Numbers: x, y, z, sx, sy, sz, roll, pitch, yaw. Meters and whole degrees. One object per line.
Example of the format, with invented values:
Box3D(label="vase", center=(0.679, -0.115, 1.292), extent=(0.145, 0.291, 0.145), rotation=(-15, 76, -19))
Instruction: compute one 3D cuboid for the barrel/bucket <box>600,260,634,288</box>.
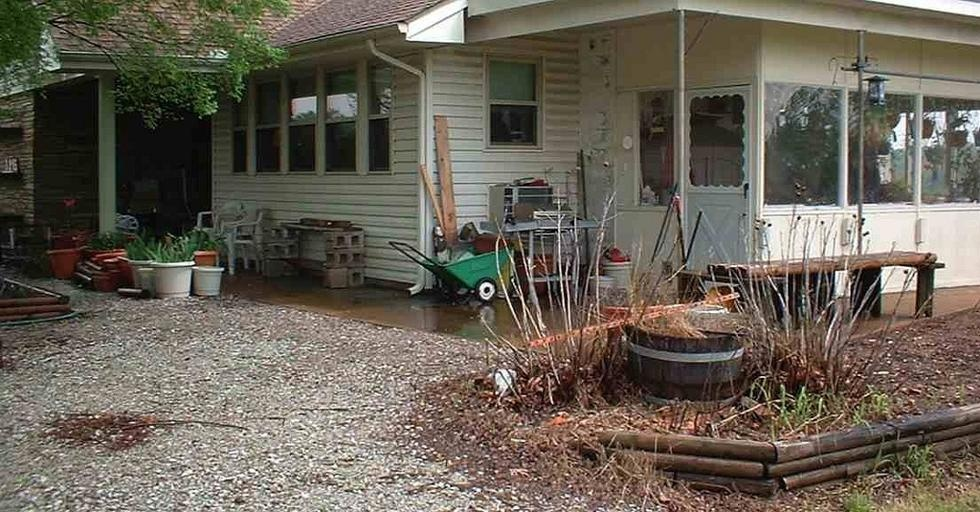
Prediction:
Box3D(label="barrel/bucket", center=(2.337, 0.322, 12.405), extent=(0.588, 0.440, 0.584), rotation=(0, -2, 0))

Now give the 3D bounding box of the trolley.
Box3D(label="trolley", center=(-0.475, 0.198, 12.433), extent=(2.059, 1.041, 1.117), rotation=(-11, 8, -11))

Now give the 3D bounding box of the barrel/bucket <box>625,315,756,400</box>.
Box3D(label="barrel/bucket", center=(2.310, 1.169, 8.000), extent=(1.196, 0.590, 1.047), rotation=(-5, 0, 20))

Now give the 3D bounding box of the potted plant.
Box3D(label="potted plant", center=(-5.928, 0.167, 13.171), extent=(1.631, 1.088, 1.754), rotation=(-1, -3, -8))

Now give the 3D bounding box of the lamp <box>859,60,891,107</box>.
Box3D(label="lamp", center=(6.887, -3.125, 12.302), extent=(0.417, 0.811, 1.477), rotation=(4, 7, 33))

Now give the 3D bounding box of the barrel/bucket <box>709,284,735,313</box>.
Box3D(label="barrel/bucket", center=(3.365, 0.565, 9.781), extent=(0.418, 0.307, 0.464), rotation=(6, 13, 37))

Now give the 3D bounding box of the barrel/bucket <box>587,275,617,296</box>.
Box3D(label="barrel/bucket", center=(1.927, 0.480, 11.794), extent=(0.625, 0.380, 0.559), rotation=(0, 1, -4))
